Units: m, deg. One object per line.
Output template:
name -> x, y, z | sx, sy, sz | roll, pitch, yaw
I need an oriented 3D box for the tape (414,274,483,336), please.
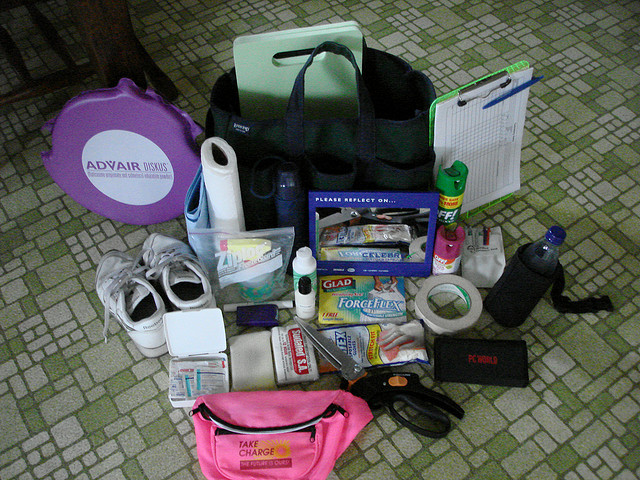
tape -> 0.351, 0.178, 1.480 | 0.193, 0.111, 0.160 | -3, 68, 2

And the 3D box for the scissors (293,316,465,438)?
scissors -> 0.111, 0.358, 1.363 | 0.497, 0.066, 0.141 | 31, 70, 9

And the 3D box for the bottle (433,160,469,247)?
bottle -> 0.365, -0.104, 1.497 | 0.078, 0.247, 0.072 | -3, 49, 3

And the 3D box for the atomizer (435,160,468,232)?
atomizer -> 0.359, -0.130, 1.457 | 0.081, 0.223, 0.074 | 5, 53, 7

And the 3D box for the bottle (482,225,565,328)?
bottle -> 0.521, 0.101, 1.342 | 0.113, 0.303, 0.188 | 31, 70, 19

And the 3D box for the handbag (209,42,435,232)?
handbag -> -0.002, -0.269, 1.445 | 0.658, 0.511, 0.303 | -4, 59, 0

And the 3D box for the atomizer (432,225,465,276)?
atomizer -> 0.359, 0.036, 1.483 | 0.090, 0.138, 0.078 | -6, 40, -4
